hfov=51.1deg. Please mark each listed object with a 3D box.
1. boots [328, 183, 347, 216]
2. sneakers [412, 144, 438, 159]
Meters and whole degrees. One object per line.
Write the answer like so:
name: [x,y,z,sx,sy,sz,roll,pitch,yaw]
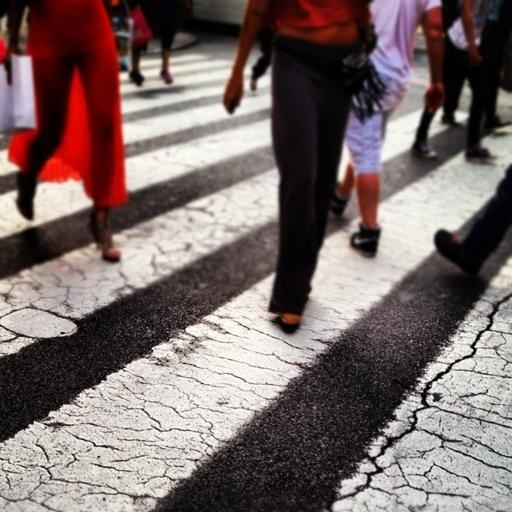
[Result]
boots: [0.602,-0.409,3.825,0.108,0.257,0.137,8,37,7]
sneakers: [1.677,-1.031,5.325,0.249,0.161,0.085,14,47,24]
